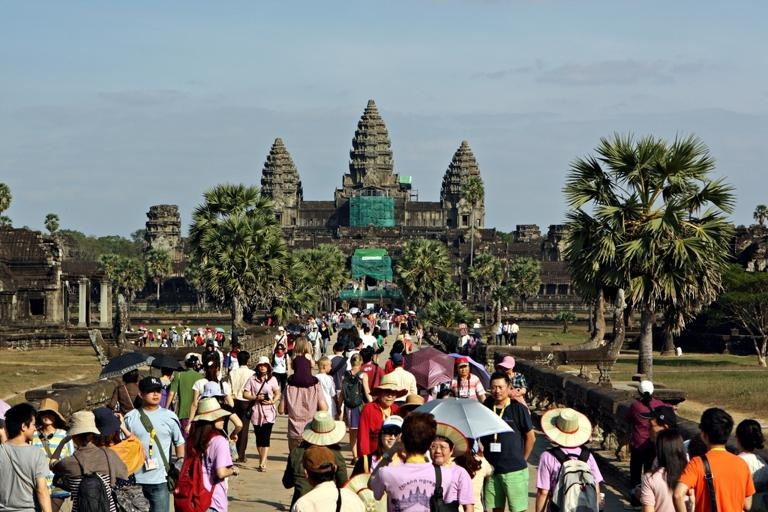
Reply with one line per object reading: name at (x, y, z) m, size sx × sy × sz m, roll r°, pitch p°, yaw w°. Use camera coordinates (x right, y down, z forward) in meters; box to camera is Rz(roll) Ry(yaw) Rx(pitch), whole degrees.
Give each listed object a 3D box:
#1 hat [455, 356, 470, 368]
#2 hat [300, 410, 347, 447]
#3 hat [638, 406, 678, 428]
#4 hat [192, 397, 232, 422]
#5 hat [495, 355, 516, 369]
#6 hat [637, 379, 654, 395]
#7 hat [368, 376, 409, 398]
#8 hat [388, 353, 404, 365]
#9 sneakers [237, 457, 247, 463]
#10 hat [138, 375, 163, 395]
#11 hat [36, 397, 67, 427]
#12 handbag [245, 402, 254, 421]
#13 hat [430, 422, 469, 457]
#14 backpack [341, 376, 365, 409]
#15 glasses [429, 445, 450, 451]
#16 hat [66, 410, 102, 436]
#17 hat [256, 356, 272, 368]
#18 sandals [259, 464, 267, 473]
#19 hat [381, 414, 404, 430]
hat at (1.498, 2.026, 24.827) m, size 0.253 × 0.126 × 0.376 m, roll 0°, pitch -2°, yaw 1°
hat at (-0.972, 2.797, 21.119) m, size 0.675 × 0.545 × 0.448 m, roll -1°, pitch -3°, yaw -5°
hat at (4.697, 2.720, 22.379) m, size 0.609 × 0.319 × 0.394 m, roll 4°, pitch 1°, yaw 14°
hat at (-2.913, 2.571, 21.704) m, size 0.419 × 0.211 × 0.426 m, roll -7°, pitch -3°, yaw 35°
hat at (2.322, 2.005, 24.609) m, size 0.252 × 0.197 × 0.380 m, roll 1°, pitch -1°, yaw 24°
hat at (4.892, 2.459, 24.330) m, size 0.228 × 0.246 × 0.374 m, roll -1°, pitch -3°, yaw 8°
hat at (0.113, 2.420, 24.081) m, size 0.513 × 0.226 × 0.521 m, roll 3°, pitch -10°, yaw -10°
hat at (0.235, 1.985, 25.272) m, size 0.207 × 0.281 × 0.277 m, roll 2°, pitch -20°, yaw -7°
sneakers at (-2.934, 4.230, 27.045) m, size 0.118 × 0.126 × 0.411 m, roll -1°, pitch -3°, yaw 12°
hat at (-4.039, 2.221, 22.513) m, size 0.359 × 0.278 × 0.315 m, roll 0°, pitch -3°, yaw -11°
hat at (-5.604, 2.659, 22.038) m, size 0.468 × 0.317 × 0.509 m, roll 9°, pitch -19°, yaw -1°
handbag at (-2.757, 3.161, 26.723) m, size 0.171 × 0.395 × 0.552 m, roll 0°, pitch -3°, yaw -6°
hat at (1.080, 2.910, 20.718) m, size 0.601 × 0.536 × 0.294 m, roll 0°, pitch -3°, yaw -16°
backpack at (-0.592, 2.681, 25.749) m, size 0.556 × 0.733 × 0.413 m, roll 1°, pitch -15°, yaw -6°
glasses at (0.883, 3.004, 20.549) m, size 0.295 × 0.118 × 0.055 m, roll -1°, pitch -3°, yaw 1°
hat at (-4.890, 2.722, 21.261) m, size 0.498 × 0.367 × 0.236 m, roll -1°, pitch -3°, yaw 1°
hat at (-2.443, 2.108, 26.451) m, size 0.295 × 0.148 × 0.406 m, roll 1°, pitch -23°, yaw 0°
sandals at (-2.468, 4.305, 26.489) m, size 0.117 × 0.152 × 0.347 m, roll 1°, pitch -9°, yaw -16°
hat at (0.145, 2.715, 21.320) m, size 0.311 × 0.197 × 0.483 m, roll -1°, pitch -3°, yaw 0°
